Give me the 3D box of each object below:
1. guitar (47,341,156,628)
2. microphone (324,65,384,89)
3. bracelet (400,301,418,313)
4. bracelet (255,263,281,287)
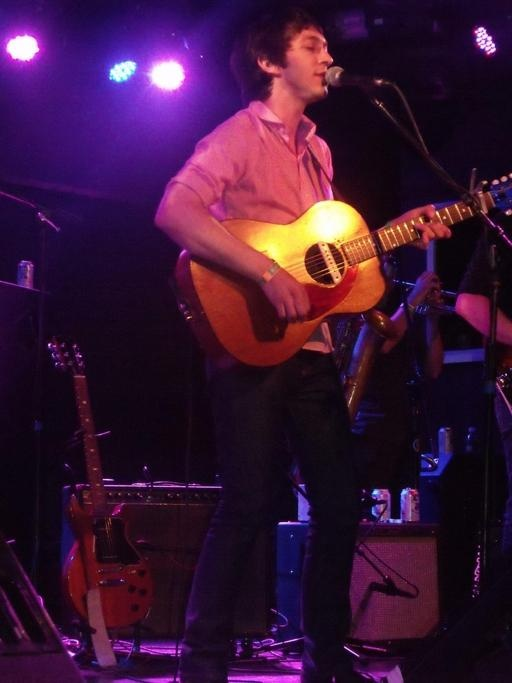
[{"bbox_3d":[-0.724,0.748,3.466,0.393,1.303,0.791,-2,-1,-14],"label":"guitar"},{"bbox_3d":[0.292,-0.824,2.290,0.225,0.077,0.076,4,21,-4],"label":"microphone"},{"bbox_3d":[0.833,-0.185,3.934,0.088,0.034,0.146,-13,17,10],"label":"bracelet"},{"bbox_3d":[0.038,-0.182,1.967,0.058,0.059,0.016,-38,32,-30],"label":"bracelet"}]
